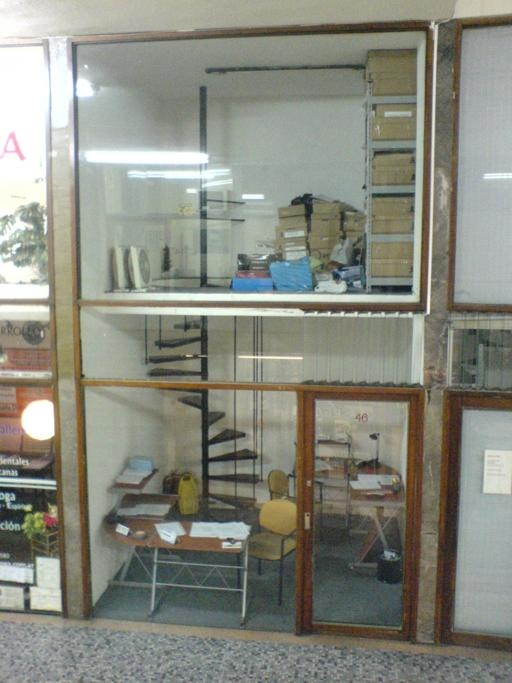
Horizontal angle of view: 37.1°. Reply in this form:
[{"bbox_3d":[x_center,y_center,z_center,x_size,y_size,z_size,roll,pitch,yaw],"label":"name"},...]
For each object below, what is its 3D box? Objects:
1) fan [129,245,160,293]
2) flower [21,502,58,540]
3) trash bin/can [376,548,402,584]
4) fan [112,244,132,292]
[{"bbox_3d":[-0.989,-0.639,6.577,0.222,0.372,0.327,0,6,-1],"label":"fan"},{"bbox_3d":[-1.832,1.545,6.487,0.326,0.327,0.169,-5,0,2],"label":"flower"},{"bbox_3d":[1.070,1.810,6.142,0.276,0.257,0.258,0,0,1],"label":"trash bin/can"},{"bbox_3d":[-1.139,-0.630,6.531,0.174,0.375,0.148,-4,7,-31],"label":"fan"}]
